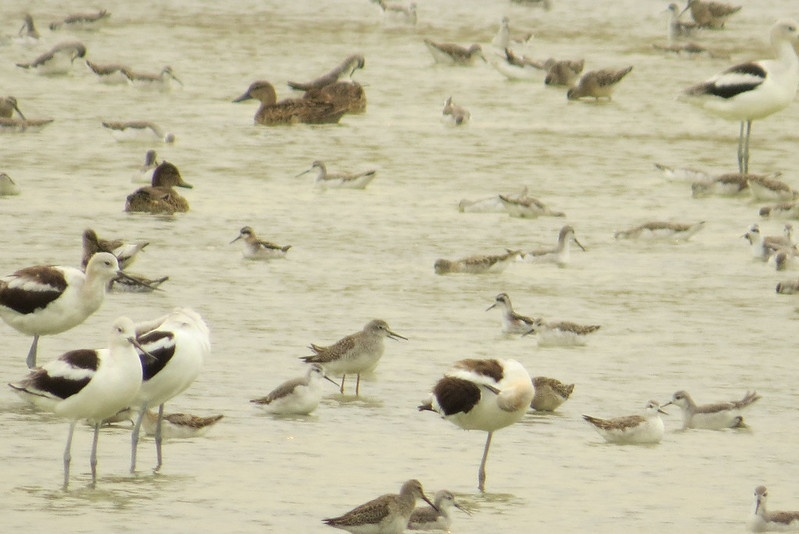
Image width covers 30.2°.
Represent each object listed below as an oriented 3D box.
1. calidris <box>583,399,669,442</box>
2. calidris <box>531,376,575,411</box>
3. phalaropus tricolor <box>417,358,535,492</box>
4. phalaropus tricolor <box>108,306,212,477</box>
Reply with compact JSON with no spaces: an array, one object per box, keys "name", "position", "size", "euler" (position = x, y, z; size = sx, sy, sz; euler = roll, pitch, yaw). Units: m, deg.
[{"name":"calidris","position":[4.239,2.937,27.728],"size":[1.470,0.734,0.776],"euler":[3,90,10]},{"name":"calidris","position":[2.905,2.482,28.567],"size":[0.804,0.873,0.618],"euler":[13,72,6]},{"name":"phalaropus tricolor","position":[0.657,2.424,26.389],"size":[2.722,1.788,2.368],"euler":[13,101,45]},{"name":"phalaropus tricolor","position":[-5.409,1.720,26.563],"size":[3.149,1.540,2.867],"euler":[-4,88,30]}]
